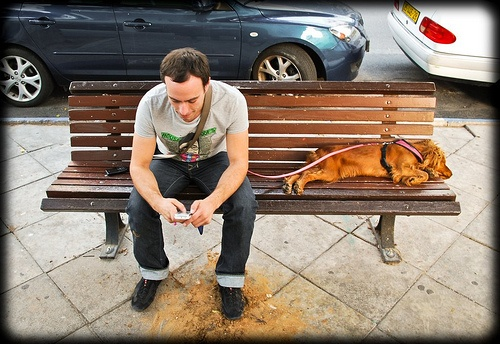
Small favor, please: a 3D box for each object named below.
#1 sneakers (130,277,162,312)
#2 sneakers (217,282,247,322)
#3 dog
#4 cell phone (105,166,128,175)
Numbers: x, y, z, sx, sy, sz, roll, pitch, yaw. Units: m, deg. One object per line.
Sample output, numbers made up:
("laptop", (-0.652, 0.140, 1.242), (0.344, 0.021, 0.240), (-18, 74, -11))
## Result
("sneakers", (-0.904, 1.010, 3.161), (0.168, 0.158, 0.428), (14, 28, 3))
("sneakers", (-0.154, 1.074, 3.024), (0.167, 0.103, 0.261), (-9, 41, -12))
("dog", (1.131, -0.066, 3.475), (1.638, 0.550, 0.410), (1, -1, -2))
("cell phone", (-1.259, -0.018, 3.406), (0.160, 0.035, 0.083), (-9, 32, -24))
